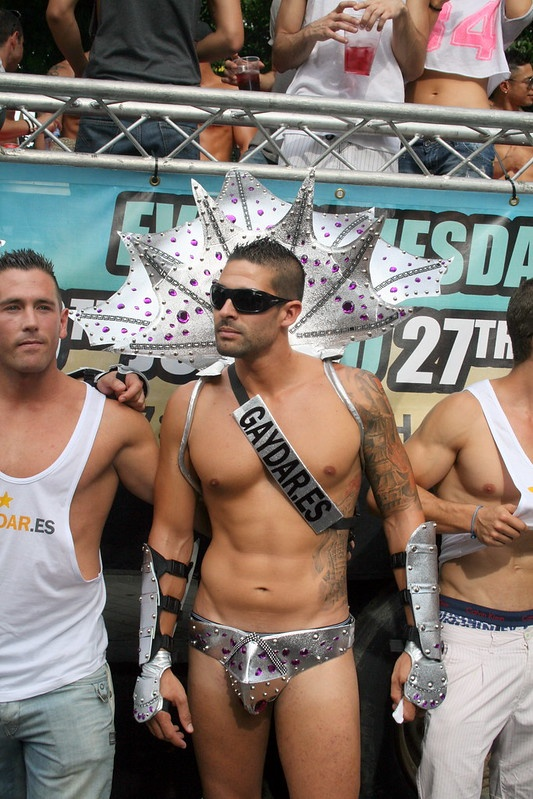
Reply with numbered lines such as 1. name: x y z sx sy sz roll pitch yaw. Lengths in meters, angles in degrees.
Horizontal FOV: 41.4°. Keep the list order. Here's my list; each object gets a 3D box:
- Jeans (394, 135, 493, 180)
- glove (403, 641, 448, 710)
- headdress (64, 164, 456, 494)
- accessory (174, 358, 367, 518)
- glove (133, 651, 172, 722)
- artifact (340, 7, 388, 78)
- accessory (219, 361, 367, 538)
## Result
1. Jeans: 1.067 -1.417 4.150 0.519 0.325 0.259 7 24 -5
2. glove: 0.565 0.993 2.547 0.149 0.074 0.211 -2 65 -2
3. headdress: 0.021 -0.466 3.065 1.254 0.993 0.454 12 -8 0
4. accessory: 0.061 0.172 2.689 0.500 0.626 0.156 -39 -7 5
5. glove: -0.413 1.020 2.550 0.167 0.099 0.221 -16 44 36
6. artifact: 0.570 -2.062 4.205 0.221 0.270 0.109 2 27 3
7. accessory: 0.052 0.169 2.570 0.338 0.146 0.623 -22 74 -49
